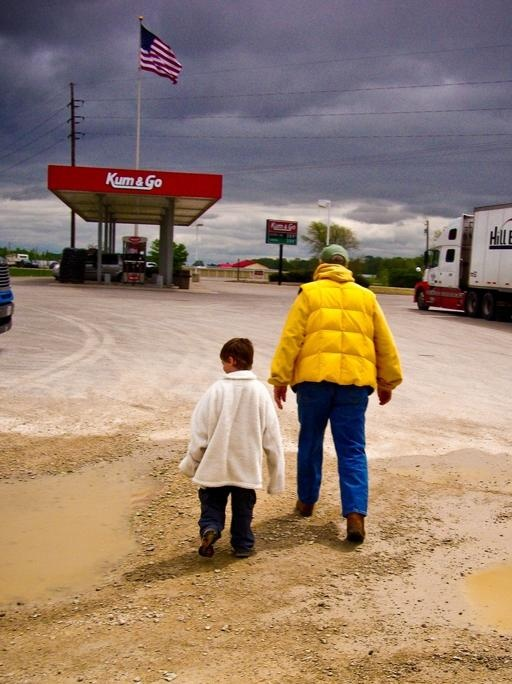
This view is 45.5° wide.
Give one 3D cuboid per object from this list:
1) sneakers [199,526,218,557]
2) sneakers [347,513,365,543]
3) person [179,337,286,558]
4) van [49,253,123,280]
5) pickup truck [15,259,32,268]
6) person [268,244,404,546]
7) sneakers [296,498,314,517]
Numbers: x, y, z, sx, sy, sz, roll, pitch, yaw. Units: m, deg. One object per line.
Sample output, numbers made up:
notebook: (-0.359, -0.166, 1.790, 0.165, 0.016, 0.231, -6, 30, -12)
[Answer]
sneakers: (-0.247, 1.042, 3.191, 0.093, 0.170, 0.082, 12, 12, -9)
sneakers: (0.582, 1.081, 3.552, 0.110, 0.158, 0.138, 1, 3, 8)
person: (-0.143, 0.571, 3.376, 0.488, 1.187, 0.599, 2, 4, 19)
van: (-11.103, -5.088, 40.485, 4.284, 1.781, 2.234, 2, 7, -6)
pickup truck: (-33.811, -11.492, 88.979, 1.593, 1.108, 2.493, -2, 1, -44)
person: (0.490, 0.256, 3.841, 0.762, 1.780, 0.729, 2, 4, 22)
sneakers: (0.306, 1.079, 3.979, 0.084, 0.116, 0.131, 4, 10, 2)
